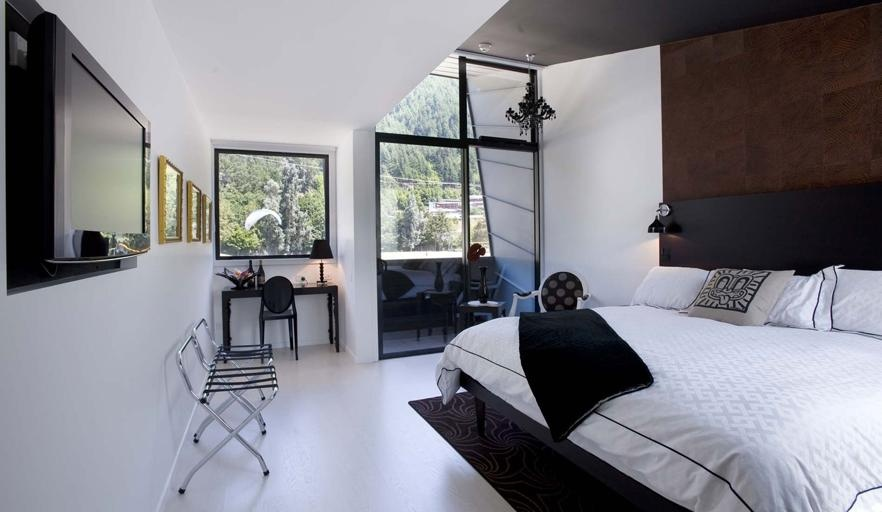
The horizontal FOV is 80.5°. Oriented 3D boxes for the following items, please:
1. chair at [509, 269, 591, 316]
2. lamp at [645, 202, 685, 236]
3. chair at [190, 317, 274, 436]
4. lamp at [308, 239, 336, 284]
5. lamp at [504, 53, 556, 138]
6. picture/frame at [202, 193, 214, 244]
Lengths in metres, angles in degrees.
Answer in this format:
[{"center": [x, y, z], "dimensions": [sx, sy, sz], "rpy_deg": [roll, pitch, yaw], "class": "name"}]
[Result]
[{"center": [1.374, 0.548, 6.731], "dimensions": [0.789, 1.012, 0.687], "rpy_deg": [1, -13, 30], "class": "chair"}, {"center": [2.362, -0.418, 5.648], "dimensions": [0.256, 0.327, 0.352], "rpy_deg": [-6, 5, -17], "class": "lamp"}, {"center": [-2.068, 1.201, 5.094], "dimensions": [0.550, 0.530, 1.042], "rpy_deg": [-1, 5, -12], "class": "chair"}, {"center": [-1.653, 0.070, 7.248], "dimensions": [0.296, 0.612, 0.459], "rpy_deg": [-3, 5, -12], "class": "lamp"}, {"center": [1.052, -1.918, 6.196], "dimensions": [0.539, 0.882, 0.518], "rpy_deg": [0, 2, 34], "class": "lamp"}, {"center": [-2.830, -0.458, 6.297], "dimensions": [0.077, 0.573, 1.084], "rpy_deg": [-4, 5, -21], "class": "picture/frame"}]
